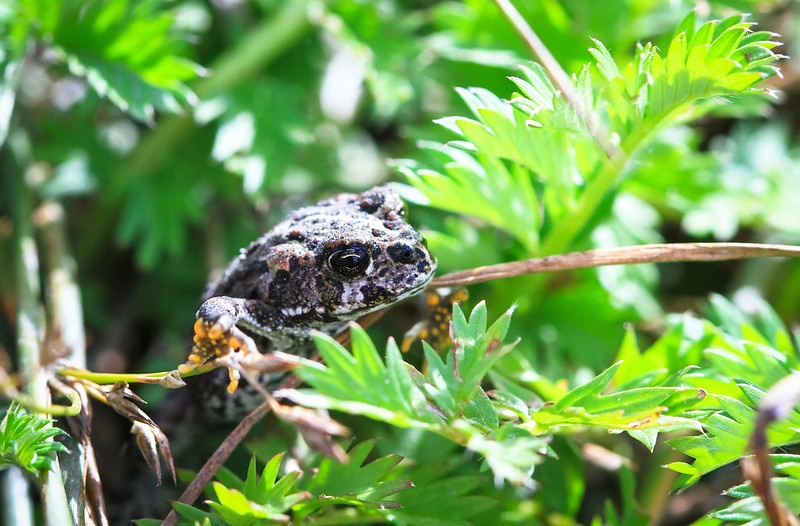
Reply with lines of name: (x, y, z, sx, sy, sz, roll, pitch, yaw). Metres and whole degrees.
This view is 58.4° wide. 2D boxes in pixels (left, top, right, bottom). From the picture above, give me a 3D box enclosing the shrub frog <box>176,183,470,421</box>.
shrub frog: (-0.298, 0.092, 2.310, 0.779, 0.444, 0.552, -12, 48, -14)
